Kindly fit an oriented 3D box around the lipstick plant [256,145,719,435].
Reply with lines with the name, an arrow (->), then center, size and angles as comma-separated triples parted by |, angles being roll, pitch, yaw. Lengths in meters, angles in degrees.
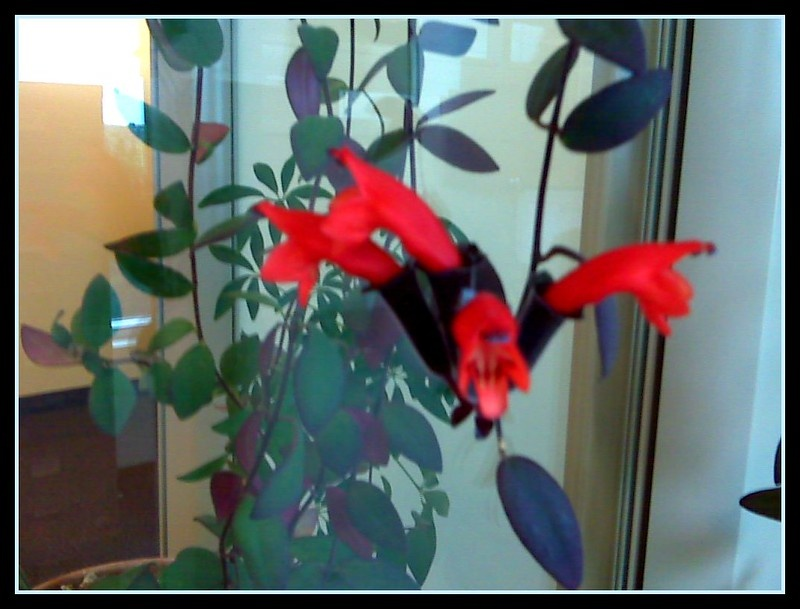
lipstick plant -> 0.091, -0.013, 0.693 | 0.411, 0.276, 0.151 | -2, -4, -2
